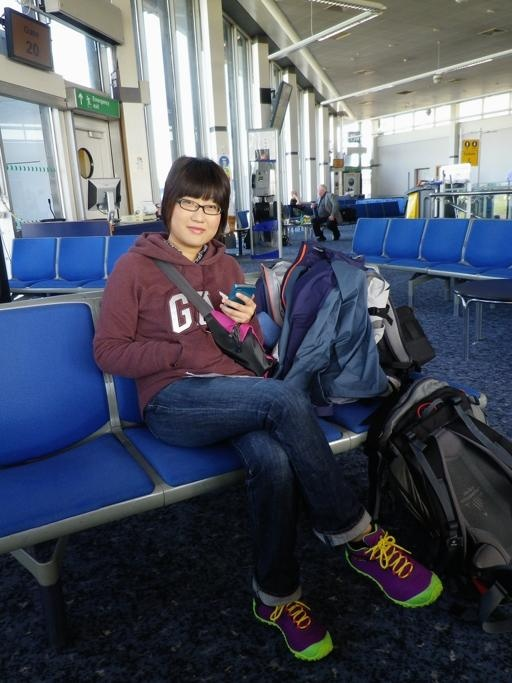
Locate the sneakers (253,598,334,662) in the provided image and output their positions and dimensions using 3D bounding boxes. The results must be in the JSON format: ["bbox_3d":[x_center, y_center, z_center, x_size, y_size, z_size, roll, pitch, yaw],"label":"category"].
[{"bbox_3d":[0.096,0.637,1.157,0.085,0.086,0.211,-9,8,-43],"label":"sneakers"}]

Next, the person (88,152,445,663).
[{"bbox_3d":[0.035,0.077,1.875,1.458,1.601,0.712,9,9,42],"label":"person"}]
